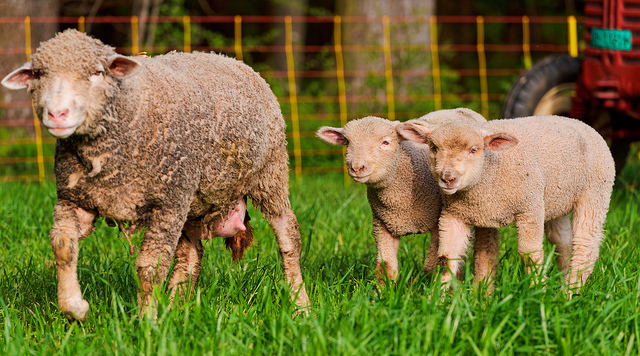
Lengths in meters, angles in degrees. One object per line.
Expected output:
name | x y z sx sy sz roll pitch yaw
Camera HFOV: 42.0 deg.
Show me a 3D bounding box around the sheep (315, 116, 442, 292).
sheep | 0.985 0.298 9.453 1.212 1.858 2.250 -3 -2 31
